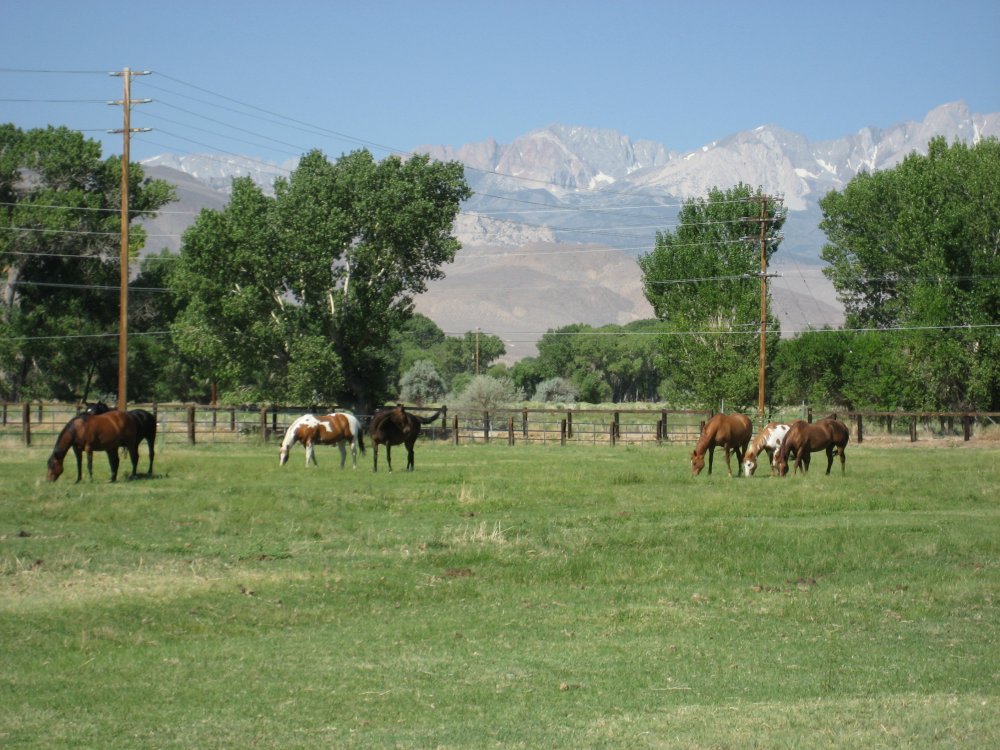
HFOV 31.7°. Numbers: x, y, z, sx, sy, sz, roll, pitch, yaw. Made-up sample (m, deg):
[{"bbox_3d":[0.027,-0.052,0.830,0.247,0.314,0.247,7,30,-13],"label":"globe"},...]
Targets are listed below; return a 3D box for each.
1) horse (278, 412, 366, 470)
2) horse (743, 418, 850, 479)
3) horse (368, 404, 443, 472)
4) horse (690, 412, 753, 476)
[{"bbox_3d":[-7.340,2.548,73.144,3.765,2.308,1.042,-2,-7,-30],"label":"horse"},{"bbox_3d":[11.884,2.610,70.597,4.453,2.580,2.959,3,-3,-39],"label":"horse"},{"bbox_3d":[-4.079,2.343,72.529,1.044,2.866,4.748,21,-17,-32],"label":"horse"},{"bbox_3d":[8.926,2.590,70.968,1.237,2.620,4.232,8,14,42],"label":"horse"}]
